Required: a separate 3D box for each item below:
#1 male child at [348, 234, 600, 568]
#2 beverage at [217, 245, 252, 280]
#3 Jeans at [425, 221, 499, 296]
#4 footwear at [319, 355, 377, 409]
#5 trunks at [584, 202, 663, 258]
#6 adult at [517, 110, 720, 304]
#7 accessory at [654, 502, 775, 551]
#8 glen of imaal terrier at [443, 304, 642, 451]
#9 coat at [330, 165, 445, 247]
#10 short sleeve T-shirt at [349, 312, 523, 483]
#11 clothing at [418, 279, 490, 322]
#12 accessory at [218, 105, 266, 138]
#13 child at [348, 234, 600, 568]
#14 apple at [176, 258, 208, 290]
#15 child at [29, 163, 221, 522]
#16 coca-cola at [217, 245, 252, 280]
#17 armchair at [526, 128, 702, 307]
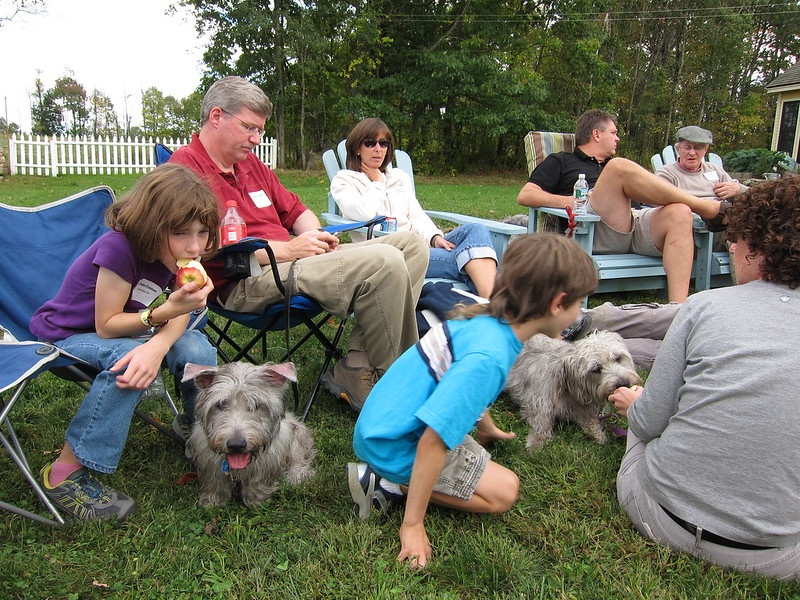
[{"bbox_3d":[0.335,0.513,2.740,0.804,1.315,0.797,11,28,-15],"label":"male child"},{"bbox_3d":[-0.879,-0.207,3.147,0.163,0.175,0.172,-10,1,-18],"label":"beverage"},{"bbox_3d":[0.421,-0.300,4.206,0.348,0.302,0.667,-3,13,-20],"label":"Jeans"},{"bbox_3d":[-0.304,0.487,3.472,0.342,0.227,0.135,42,11,13],"label":"footwear"},{"bbox_3d":[1.975,-0.606,5.153,0.619,0.450,0.151,-2,7,-9],"label":"trunks"},{"bbox_3d":[1.992,-0.825,5.270,1.154,2.067,1.677,5,1,-38],"label":"adult"},{"bbox_3d":[1.226,0.867,2.273,0.223,0.060,0.222,0,12,-15],"label":"accessory"},{"bbox_3d":[0.948,0.487,3.577,0.453,0.663,1.236,1,7,-15],"label":"glen of imaal terrier"},{"bbox_3d":[-0.123,-0.803,4.769,0.660,0.675,0.882,-20,32,-34],"label":"coat"},{"bbox_3d":[0.153,0.439,2.603,0.331,0.634,0.621,41,9,-7],"label":"short sleeve T-shirt"},{"bbox_3d":[0.316,-0.042,3.758,0.282,0.125,0.278,-9,33,-39],"label":"clothing"},{"bbox_3d":[-0.957,-1.066,3.537,0.177,0.056,0.177,35,10,29],"label":"accessory"},{"bbox_3d":[0.281,0.386,2.608,0.885,1.432,0.654,-9,27,-42],"label":"child"},{"bbox_3d":[-0.941,-0.116,2.663,0.133,0.115,0.192,0,12,-21],"label":"apple"},{"bbox_3d":[-1.250,0.140,2.760,0.921,1.458,0.959,11,5,-14],"label":"child"},{"bbox_3d":[-0.878,-0.205,3.144,0.163,0.175,0.172,-10,1,-18],"label":"coca-cola"},{"bbox_3d":[1.715,-0.781,5.112,1.624,1.911,1.046,8,19,31],"label":"armchair"}]
